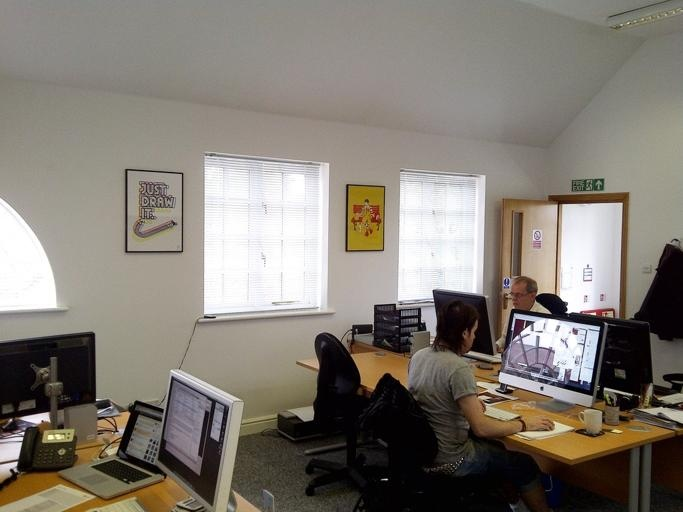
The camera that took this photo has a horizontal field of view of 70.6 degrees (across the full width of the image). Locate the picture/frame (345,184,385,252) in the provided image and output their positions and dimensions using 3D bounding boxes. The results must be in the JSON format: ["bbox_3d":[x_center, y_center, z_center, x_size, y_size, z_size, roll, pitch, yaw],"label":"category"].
[{"bbox_3d":[0.252,-0.451,5.560,0.692,1.056,0.037,-4,7,-32],"label":"picture/frame"}]

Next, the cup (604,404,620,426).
[{"bbox_3d":[1.772,1.010,3.110,0.166,0.122,0.073,-1,3,-32],"label":"cup"}]

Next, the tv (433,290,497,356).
[{"bbox_3d":[1.147,0.567,4.323,0.316,0.593,0.574,-13,11,-39],"label":"tv"}]

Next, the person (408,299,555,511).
[{"bbox_3d":[0.886,0.881,3.783,1.199,1.840,0.948,-6,6,-21],"label":"person"}]

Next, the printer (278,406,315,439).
[{"bbox_3d":[-0.459,1.739,4.977,0.289,0.194,0.391,4,-4,-33],"label":"printer"}]

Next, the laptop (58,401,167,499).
[{"bbox_3d":[-1.165,0.984,2.494,0.456,0.299,0.433,-3,-1,39],"label":"laptop"}]

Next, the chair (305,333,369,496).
[{"bbox_3d":[0.110,1.332,4.152,0.737,1.198,0.711,10,-7,-5],"label":"chair"}]

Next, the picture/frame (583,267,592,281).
[{"bbox_3d":[4.138,0.312,8.065,0.197,0.224,0.194,7,7,36],"label":"picture/frame"}]

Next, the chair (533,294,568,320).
[{"bbox_3d":[2.191,0.500,5.016,0.304,0.415,0.327,-3,-9,23],"label":"chair"}]

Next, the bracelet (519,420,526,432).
[{"bbox_3d":[1.113,1.037,2.947,0.044,0.034,0.044,1,3,-37],"label":"bracelet"}]

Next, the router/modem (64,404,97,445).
[{"bbox_3d":[-1.572,1.043,2.929,0.154,0.221,0.095,-2,-31,-27],"label":"router/modem"}]
